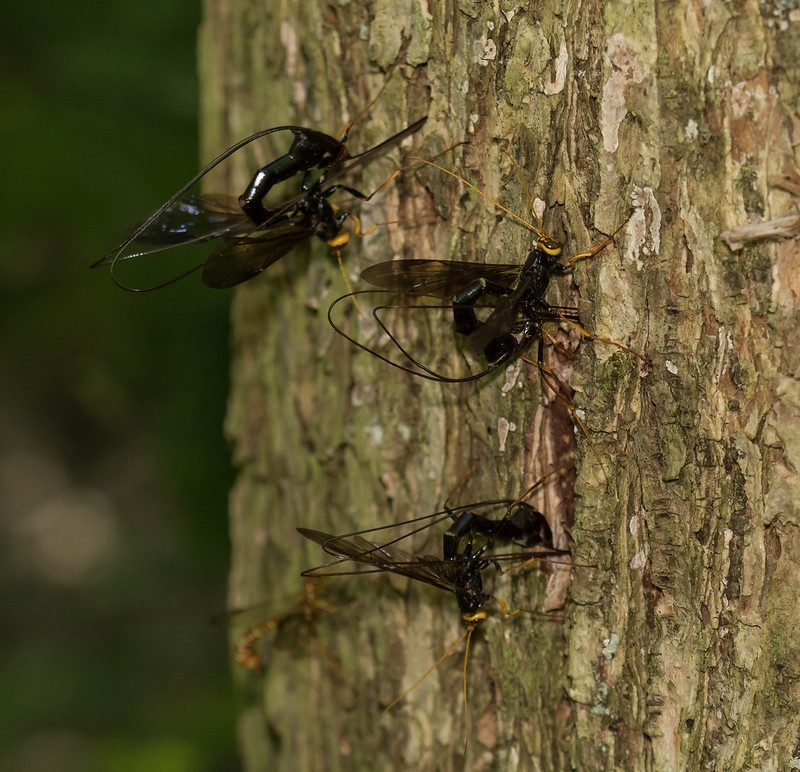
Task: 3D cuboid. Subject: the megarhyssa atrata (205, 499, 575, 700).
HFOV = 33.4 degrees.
[{"bbox_3d":[0.042,0.358,2.485,0.433,0.460,0.140,-7,21,6],"label":"megarhyssa atrata"}]
